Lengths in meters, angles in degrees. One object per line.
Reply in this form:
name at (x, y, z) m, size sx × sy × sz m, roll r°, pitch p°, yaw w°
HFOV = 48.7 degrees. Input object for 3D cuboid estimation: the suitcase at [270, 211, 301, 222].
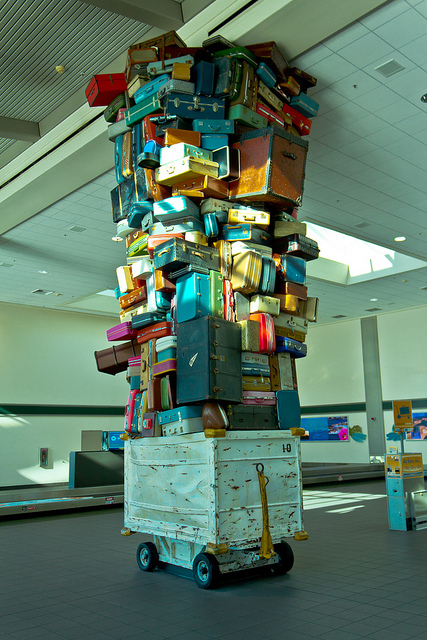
suitcase at (0.654, -1.014, 4.619) m, size 0.161 × 0.038 × 0.173 m, roll 4°, pitch 1°, yaw 43°

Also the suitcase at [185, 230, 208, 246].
suitcase at (-0.181, -0.722, 4.115) m, size 0.229 × 0.126 × 0.152 m, roll 4°, pitch 3°, yaw -45°

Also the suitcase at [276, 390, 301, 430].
suitcase at (0.613, 0.756, 4.007) m, size 0.258 × 0.338 × 0.117 m, roll 6°, pitch -17°, yaw -34°

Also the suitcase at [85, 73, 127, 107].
suitcase at (-1.206, -2.703, 5.426) m, size 0.569 × 0.382 × 0.269 m, roll 5°, pitch -16°, yaw 7°

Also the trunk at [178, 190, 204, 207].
trunk at (-0.166, -1.083, 4.100) m, size 0.180 × 0.090 × 0.233 m, roll -8°, pitch -10°, yaw 42°

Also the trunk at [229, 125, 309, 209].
trunk at (0.499, -1.449, 4.538) m, size 0.539 × 0.592 × 0.647 m, roll 4°, pitch 6°, yaw -45°

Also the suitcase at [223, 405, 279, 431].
suitcase at (0.324, 0.768, 3.770) m, size 0.385 × 0.177 × 0.287 m, roll 8°, pitch -15°, yaw -34°

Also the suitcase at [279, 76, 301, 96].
suitcase at (0.832, -2.527, 5.116) m, size 0.194 × 0.050 × 0.183 m, roll 4°, pitch -5°, yaw -31°

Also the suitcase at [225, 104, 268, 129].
suitcase at (0.316, -1.909, 4.451) m, size 0.260 × 0.073 × 0.253 m, roll 8°, pitch 4°, yaw -42°

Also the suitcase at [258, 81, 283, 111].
suitcase at (0.563, -2.276, 4.800) m, size 0.100 × 0.135 × 0.570 m, roll -38°, pitch -11°, yaw 18°

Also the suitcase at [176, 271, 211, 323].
suitcase at (-0.150, -0.185, 3.677) m, size 0.357 × 0.438 × 0.160 m, roll -9°, pitch -13°, yaw 42°

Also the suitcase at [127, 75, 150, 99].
suitcase at (-0.806, -2.440, 4.921) m, size 0.049 × 0.196 × 0.200 m, roll 9°, pitch -36°, yaw -43°

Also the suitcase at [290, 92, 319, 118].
suitcase at (1.018, -2.420, 5.351) m, size 0.376 × 0.172 × 0.234 m, roll 19°, pitch -15°, yaw -38°

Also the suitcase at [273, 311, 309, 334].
suitcase at (0.710, 0.020, 4.328) m, size 0.288 × 0.123 × 0.218 m, roll 13°, pitch -8°, yaw -37°

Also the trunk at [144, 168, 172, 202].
trunk at (-0.491, -1.215, 4.210) m, size 0.218 × 0.380 × 0.231 m, roll -2°, pitch -33°, yaw -22°

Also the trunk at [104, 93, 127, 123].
trunk at (-1.112, -2.390, 5.336) m, size 0.230 × 0.063 × 0.236 m, roll -49°, pitch -3°, yaw 21°

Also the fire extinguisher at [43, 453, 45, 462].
fire extinguisher at (-4.875, 3.914, 13.516) m, size 0.037 × 0.219 × 0.075 m, roll 1°, pitch -8°, yaw -20°

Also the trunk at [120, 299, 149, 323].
trunk at (-0.771, -0.109, 4.680) m, size 0.254 × 0.066 × 0.261 m, roll -26°, pitch -13°, yaw 39°

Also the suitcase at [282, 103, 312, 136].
suitcase at (0.946, -2.241, 5.281) m, size 0.275 × 0.073 × 0.276 m, roll 29°, pitch 16°, yaw -25°

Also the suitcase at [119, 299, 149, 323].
suitcase at (-0.785, -0.092, 4.650) m, size 0.268 × 0.068 × 0.259 m, roll -15°, pitch -8°, yaw -42°

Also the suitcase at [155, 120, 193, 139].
suitcase at (-0.373, -1.796, 4.405) m, size 0.210 × 0.132 × 0.201 m, roll -2°, pitch 3°, yaw -42°

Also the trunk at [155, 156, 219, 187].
trunk at (-0.198, -1.251, 3.979) m, size 0.283 × 0.087 × 0.274 m, roll -1°, pitch -1°, yaw -38°

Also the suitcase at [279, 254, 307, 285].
suitcase at (0.721, -0.474, 4.396) m, size 0.097 × 0.253 × 0.279 m, roll -11°, pitch -15°, yaw 42°

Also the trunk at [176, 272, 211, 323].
trunk at (-0.151, -0.183, 3.677) m, size 0.187 × 0.488 × 0.351 m, roll 10°, pitch -13°, yaw -44°

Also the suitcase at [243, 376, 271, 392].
suitcase at (0.352, 0.519, 3.873) m, size 0.062 × 0.134 × 0.339 m, roll -8°, pitch -10°, yaw 39°

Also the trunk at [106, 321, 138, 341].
trunk at (-0.928, 0.148, 4.861) m, size 0.259 × 0.087 × 0.265 m, roll 6°, pitch -13°, yaw -43°

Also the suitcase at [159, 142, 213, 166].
suitcase at (-0.282, -1.418, 4.023) m, size 0.291 × 0.125 × 0.237 m, roll -5°, pitch 7°, yaw -41°

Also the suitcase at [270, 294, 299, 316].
suitcase at (0.637, -0.145, 4.321) m, size 0.202 × 0.117 × 0.203 m, roll -3°, pitch -9°, yaw 27°

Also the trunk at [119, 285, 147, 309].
trunk at (-0.791, -0.220, 4.589) m, size 0.246 × 0.064 × 0.239 m, roll -26°, pitch 6°, yaw -15°

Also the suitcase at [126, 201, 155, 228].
suitcase at (-0.716, -1.007, 4.494) m, size 0.127 × 0.199 × 0.270 m, roll 8°, pitch -4°, yaw -11°

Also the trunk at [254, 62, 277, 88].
trunk at (0.531, -2.463, 4.777) m, size 0.085 × 0.209 × 0.328 m, roll -8°, pitch -9°, yaw 37°

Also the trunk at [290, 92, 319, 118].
trunk at (1.026, -2.413, 5.343) m, size 0.379 × 0.172 × 0.236 m, roll 16°, pitch -15°, yaw -39°

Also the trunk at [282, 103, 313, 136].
trunk at (0.942, -2.236, 5.288) m, size 0.267 × 0.074 × 0.278 m, roll 38°, pitch -5°, yaw -8°

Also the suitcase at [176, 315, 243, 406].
suitcase at (-0.032, 0.328, 3.659) m, size 0.470 × 0.616 × 0.453 m, roll -10°, pitch -18°, yaw 29°

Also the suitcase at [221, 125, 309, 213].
suitcase at (0.513, -1.444, 4.545) m, size 0.683 × 0.587 × 0.555 m, roll -1°, pitch 7°, yaw -43°

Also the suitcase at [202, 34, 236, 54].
suitcase at (0.014, -2.753, 4.830) m, size 0.228 × 0.057 × 0.221 m, roll 13°, pitch -14°, yaw -43°
